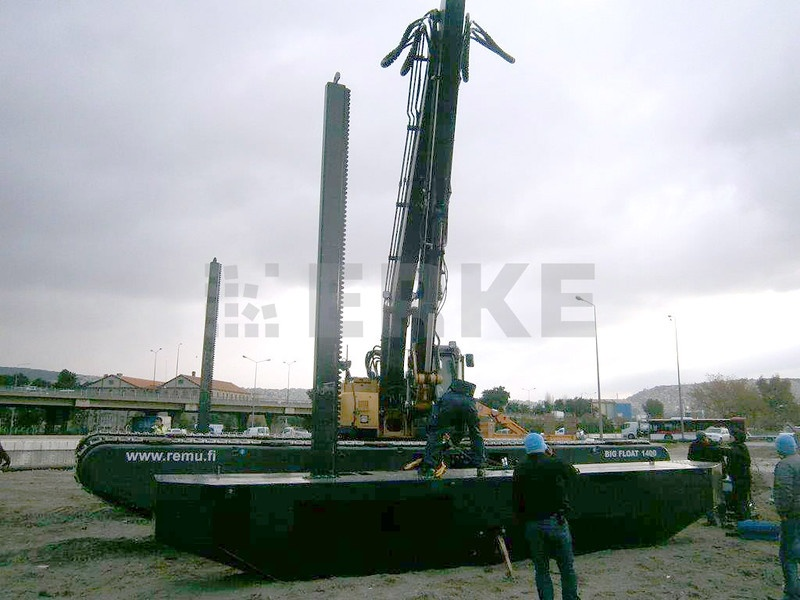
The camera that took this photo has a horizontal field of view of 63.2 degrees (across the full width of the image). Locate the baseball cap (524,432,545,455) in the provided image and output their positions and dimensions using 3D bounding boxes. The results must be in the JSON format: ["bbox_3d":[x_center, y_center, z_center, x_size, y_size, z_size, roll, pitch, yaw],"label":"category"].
[{"bbox_3d":[2.083,2.235,10.036,0.228,0.290,0.348,-4,-5,21],"label":"baseball cap"}]

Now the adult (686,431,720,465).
[{"bbox_3d":[7.079,3.534,15.185,0.604,0.928,0.903,5,-2,0],"label":"adult"}]

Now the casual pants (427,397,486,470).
[{"bbox_3d":[0.963,2.331,11.539,1.321,1.336,0.541,8,-13,-40],"label":"casual pants"}]

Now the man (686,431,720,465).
[{"bbox_3d":[7.091,3.508,15.165,0.604,0.928,0.903,5,-2,0],"label":"man"}]

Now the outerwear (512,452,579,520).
[{"bbox_3d":[2.210,2.865,10.127,0.761,1.074,1.075,4,-11,3],"label":"outerwear"}]

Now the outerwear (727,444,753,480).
[{"bbox_3d":[7.728,3.726,14.847,0.648,0.800,0.320,-1,-10,0],"label":"outerwear"}]
